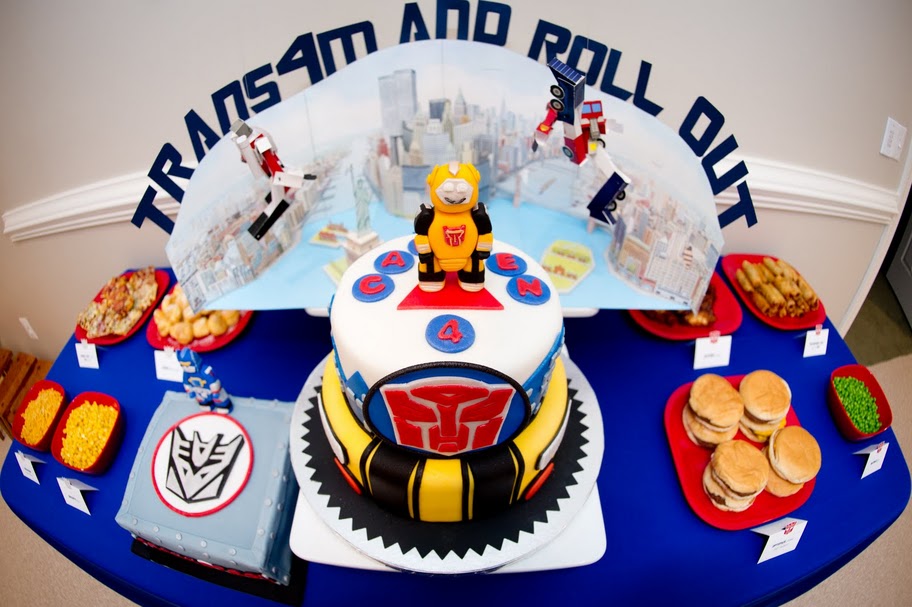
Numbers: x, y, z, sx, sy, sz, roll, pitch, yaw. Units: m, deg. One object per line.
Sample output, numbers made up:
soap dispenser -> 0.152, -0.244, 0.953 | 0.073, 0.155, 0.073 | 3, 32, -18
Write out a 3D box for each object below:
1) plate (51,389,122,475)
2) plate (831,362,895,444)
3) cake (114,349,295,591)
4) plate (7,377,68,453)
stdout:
plate -> -3.401, 1.222, 5.433 | 0.555, 0.254, 0.743 | 1, 69, 18
plate -> 3.720, 0.927, 5.400 | 0.514, 0.301, 0.741 | -3, 56, -4
cake -> -1.991, 1.317, 4.768 | 1.530, 1.353, 1.127 | 8, 36, 11
plate -> -3.940, 1.104, 5.520 | 0.453, 0.205, 0.605 | -9, 57, 24
